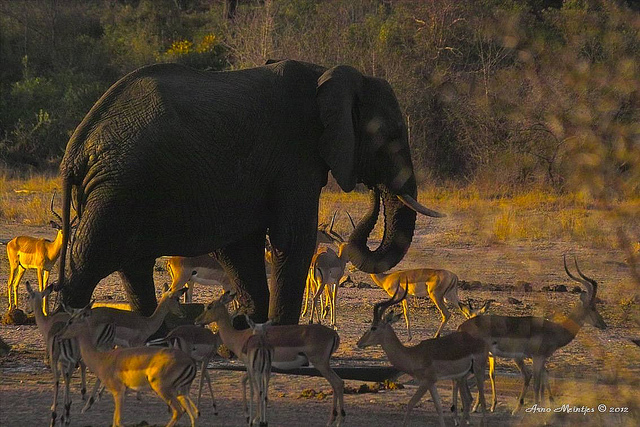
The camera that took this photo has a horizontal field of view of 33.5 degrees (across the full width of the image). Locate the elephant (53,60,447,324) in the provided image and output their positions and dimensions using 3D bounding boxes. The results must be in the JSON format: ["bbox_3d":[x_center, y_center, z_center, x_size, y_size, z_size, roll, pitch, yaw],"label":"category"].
[{"bbox_3d":[-1.837,-0.437,23.134,8.068,6.375,4.206,-4,19,-14],"label":"elephant"}]
